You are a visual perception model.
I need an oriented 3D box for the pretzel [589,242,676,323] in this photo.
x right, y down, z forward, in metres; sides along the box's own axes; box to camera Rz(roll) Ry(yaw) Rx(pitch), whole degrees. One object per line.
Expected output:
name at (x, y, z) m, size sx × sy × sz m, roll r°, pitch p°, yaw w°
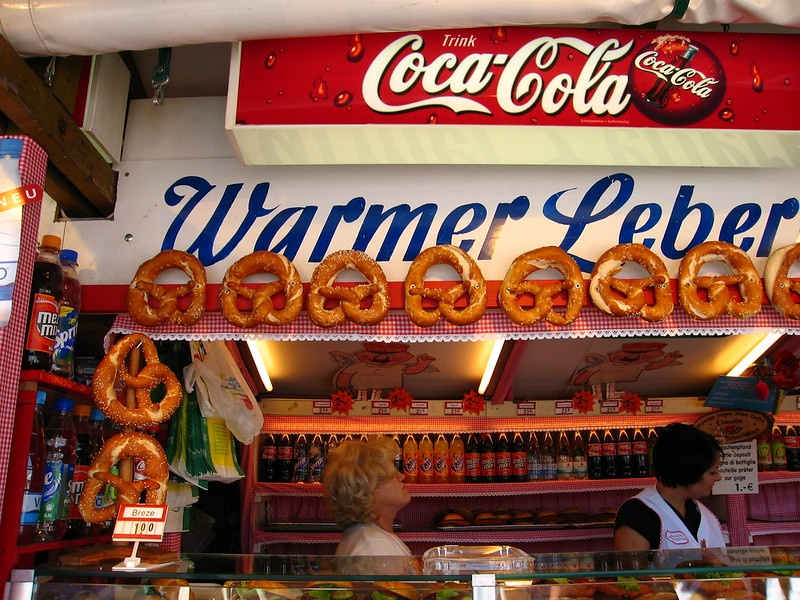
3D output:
pretzel at (1.274, -0.102, 4.058) m, size 0.461 × 0.426 × 0.120 m, roll 1°, pitch -24°, yaw -7°

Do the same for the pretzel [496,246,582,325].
pretzel at (0.777, -0.074, 4.068) m, size 0.470 × 0.428 × 0.146 m, roll -2°, pitch -24°, yaw -1°

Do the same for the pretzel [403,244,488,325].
pretzel at (0.250, -0.079, 4.074) m, size 0.454 × 0.440 × 0.207 m, roll -5°, pitch -24°, yaw 6°

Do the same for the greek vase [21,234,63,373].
greek vase at (-1.765, 0.089, 3.655) m, size 0.111 × 0.585 × 0.236 m, roll -6°, pitch -24°, yaw 9°
